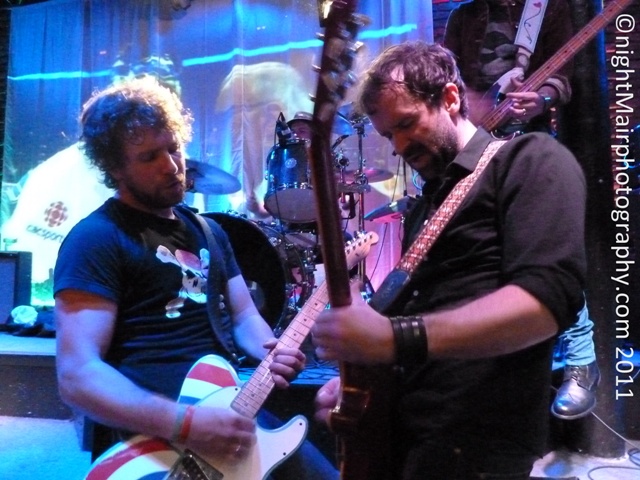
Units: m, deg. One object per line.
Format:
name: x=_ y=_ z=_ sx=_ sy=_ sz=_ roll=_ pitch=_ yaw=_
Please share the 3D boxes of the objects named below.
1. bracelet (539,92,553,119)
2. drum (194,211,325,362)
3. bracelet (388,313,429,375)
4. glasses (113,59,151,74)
bracelet: x=1.252 y=-0.759 z=3.341 sx=0.089 sy=0.091 sz=0.096 roll=4 pitch=-7 yaw=2
drum: x=-0.593 y=0.293 z=4.475 sx=0.961 sy=0.908 sz=0.898 roll=-2 pitch=10 yaw=30
bracelet: x=0.313 y=0.364 z=2.105 sx=0.176 sy=0.162 sz=0.139 roll=-4 pitch=4 yaw=-10
glasses: x=-1.959 y=-1.782 z=6.154 sx=0.379 sy=0.193 sz=0.090 roll=-3 pitch=10 yaw=9
